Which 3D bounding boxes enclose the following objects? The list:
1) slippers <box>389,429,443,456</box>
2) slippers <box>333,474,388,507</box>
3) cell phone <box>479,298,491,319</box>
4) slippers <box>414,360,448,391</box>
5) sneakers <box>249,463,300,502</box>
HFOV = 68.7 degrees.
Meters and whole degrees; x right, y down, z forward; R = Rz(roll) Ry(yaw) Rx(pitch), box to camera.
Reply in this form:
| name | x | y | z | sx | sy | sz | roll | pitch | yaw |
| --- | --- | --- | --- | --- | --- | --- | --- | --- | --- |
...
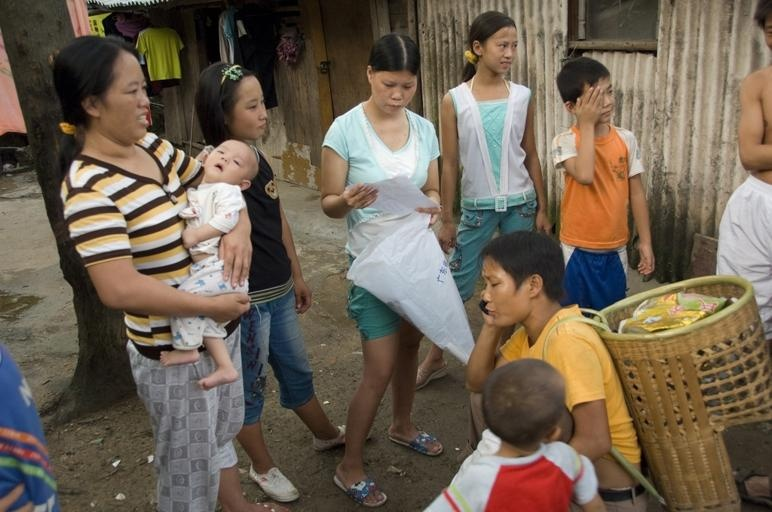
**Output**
| name | x | y | z | sx | sy | sz | roll | pitch | yaw |
| --- | --- | --- | --- | --- | --- | --- | --- | --- | --- |
| slippers | 0.221 | 1.265 | 3.840 | 0.311 | 0.098 | 0.145 | 11 | 29 | 30 |
| slippers | -0.145 | 1.432 | 3.490 | 0.269 | 0.088 | 0.144 | 25 | 36 | 34 |
| cell phone | 0.502 | 0.251 | 2.812 | 0.029 | 0.061 | 0.078 | -13 | 15 | -6 |
| slippers | 0.357 | 0.910 | 4.471 | 0.300 | 0.118 | 0.129 | -37 | 24 | -16 |
| sneakers | -0.683 | 1.410 | 3.553 | 0.328 | 0.132 | 0.151 | 29 | 24 | 10 |
